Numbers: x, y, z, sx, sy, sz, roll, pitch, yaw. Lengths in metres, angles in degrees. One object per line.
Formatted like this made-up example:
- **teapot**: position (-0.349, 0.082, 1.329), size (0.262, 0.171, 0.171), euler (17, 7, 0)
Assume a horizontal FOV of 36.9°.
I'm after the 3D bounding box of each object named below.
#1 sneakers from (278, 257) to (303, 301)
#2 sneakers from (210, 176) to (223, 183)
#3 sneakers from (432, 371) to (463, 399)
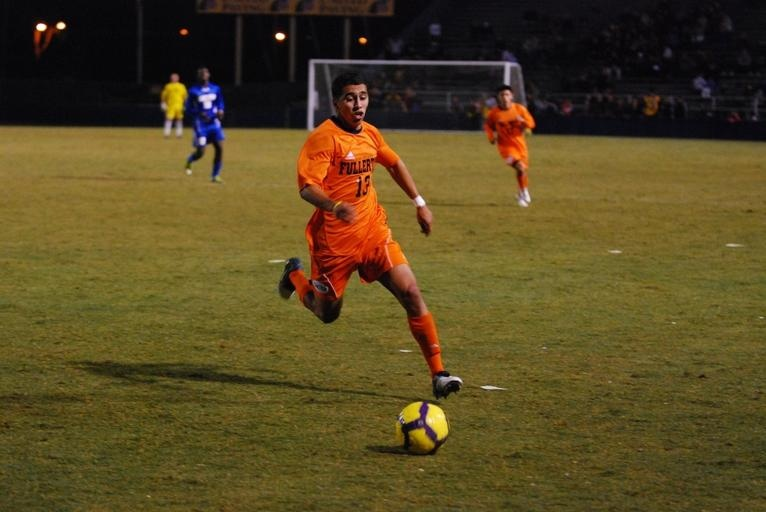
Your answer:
- **sneakers**: position (-0.946, 0.239, 11.492), size (0.187, 0.466, 0.224), euler (9, -7, 31)
- **sneakers**: position (-3.121, -1.395, 21.451), size (0.118, 0.091, 0.231), euler (-7, 8, -40)
- **sneakers**: position (0.582, 1.218, 10.709), size (0.153, 0.153, 0.360), euler (6, -19, -34)
